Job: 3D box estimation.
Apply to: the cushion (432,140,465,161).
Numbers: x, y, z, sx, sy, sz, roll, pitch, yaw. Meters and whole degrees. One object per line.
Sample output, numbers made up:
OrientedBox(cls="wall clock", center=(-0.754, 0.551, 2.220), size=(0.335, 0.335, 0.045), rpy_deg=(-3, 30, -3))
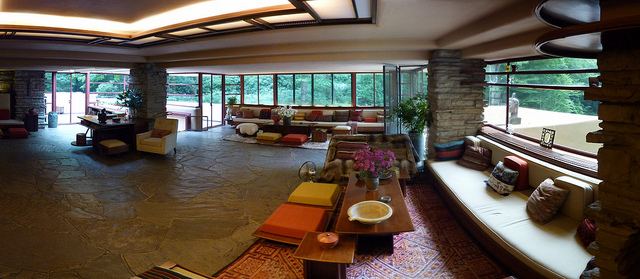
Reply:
OrientedBox(cls="cushion", center=(4.395, 0.364, 10.625), size=(1.002, 0.460, 0.291), rpy_deg=(-1, 5, 6))

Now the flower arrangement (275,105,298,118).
OrientedBox(cls="flower arrangement", center=(-1.616, -1.412, 16.323), size=(1.052, 0.531, 0.968), rpy_deg=(7, 6, 35))

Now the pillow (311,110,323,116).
OrientedBox(cls="pillow", center=(-0.109, -1.518, 17.788), size=(0.390, 0.249, 0.091), rpy_deg=(-1, -8, 21))

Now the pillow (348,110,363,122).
OrientedBox(cls="pillow", center=(1.977, -1.307, 17.203), size=(0.740, 0.573, 0.673), rpy_deg=(2, 11, 5))

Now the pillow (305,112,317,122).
OrientedBox(cls="pillow", center=(-0.451, -1.265, 17.754), size=(0.552, 0.476, 0.125), rpy_deg=(32, 0, 28))

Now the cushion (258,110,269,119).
OrientedBox(cls="cushion", center=(-3.242, -1.442, 18.295), size=(0.554, 0.358, 0.146), rpy_deg=(3, 0, 20))

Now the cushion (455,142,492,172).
OrientedBox(cls="cushion", center=(4.832, 0.547, 9.863), size=(0.269, 0.714, 0.851), rpy_deg=(29, 2, -43))

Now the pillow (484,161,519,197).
OrientedBox(cls="pillow", center=(5.271, 1.107, 9.033), size=(0.646, 0.770, 0.924), rpy_deg=(-16, 20, 3))

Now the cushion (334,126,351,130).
OrientedBox(cls="cushion", center=(1.139, -0.588, 15.654), size=(0.862, 0.100, 0.554), rpy_deg=(-1, 10, -8))

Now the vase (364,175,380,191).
OrientedBox(cls="vase", center=(1.450, 1.181, 8.813), size=(0.474, 0.332, 0.479), rpy_deg=(7, 10, 42))

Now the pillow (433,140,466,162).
OrientedBox(cls="pillow", center=(4.397, 0.374, 10.617), size=(0.978, 0.439, 0.283), rpy_deg=(-3, 7, 5))

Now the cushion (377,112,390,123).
OrientedBox(cls="cushion", center=(3.376, -1.167, 16.691), size=(0.767, 0.550, 0.510), rpy_deg=(-1, 3, 10))

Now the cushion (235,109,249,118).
OrientedBox(cls="cushion", center=(-4.746, -1.520, 18.886), size=(0.517, 0.392, 0.197), rpy_deg=(-4, -17, 29))

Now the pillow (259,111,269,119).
OrientedBox(cls="pillow", center=(-3.263, -1.433, 18.226), size=(0.569, 0.366, 0.153), rpy_deg=(0, 2, 23))

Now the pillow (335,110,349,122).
OrientedBox(cls="pillow", center=(1.228, -1.276, 17.325), size=(0.760, 0.558, 0.593), rpy_deg=(1, 11, 1))

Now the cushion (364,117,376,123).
OrientedBox(cls="cushion", center=(2.761, -1.048, 17.003), size=(0.483, 0.162, 0.323), rpy_deg=(0, -2, 15))

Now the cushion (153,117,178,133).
OrientedBox(cls="cushion", center=(-6.510, -0.607, 13.351), size=(0.866, 0.595, 0.680), rpy_deg=(11, 5, 13))

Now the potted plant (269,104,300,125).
OrientedBox(cls="potted plant", center=(-1.824, -1.393, 17.119), size=(1.696, 0.763, 3.252), rpy_deg=(-1, 10, -9))

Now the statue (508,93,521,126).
OrientedBox(cls="statue", center=(6.429, -1.011, 10.350), size=(0.426, 1.016, 0.177), rpy_deg=(8, 15, 30))

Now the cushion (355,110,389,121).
OrientedBox(cls="cushion", center=(2.808, -1.349, 17.527), size=(1.155, 0.547, 0.551), rpy_deg=(1, 3, 20))

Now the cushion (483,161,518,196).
OrientedBox(cls="cushion", center=(5.155, 1.129, 8.919), size=(0.612, 0.702, 0.993), rpy_deg=(-4, 13, -19))

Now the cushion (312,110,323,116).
OrientedBox(cls="cushion", center=(-0.141, -1.518, 17.794), size=(0.457, 0.291, 0.099), rpy_deg=(-1, -7, 10))

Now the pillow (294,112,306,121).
OrientedBox(cls="pillow", center=(-1.105, -1.343, 18.079), size=(0.721, 0.340, 0.434), rpy_deg=(0, 3, -2))

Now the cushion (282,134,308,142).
OrientedBox(cls="cushion", center=(-1.166, -0.097, 15.027), size=(0.881, 0.267, 0.885), rpy_deg=(3, 10, 16))

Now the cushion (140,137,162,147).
OrientedBox(cls="cushion", center=(-6.868, 0.088, 12.971), size=(1.032, 0.288, 0.376), rpy_deg=(5, 12, 26))

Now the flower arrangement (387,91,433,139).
OrientedBox(cls="flower arrangement", center=(3.736, -1.029, 12.151), size=(1.956, 1.482, 1.765), rpy_deg=(-1, 11, -5))

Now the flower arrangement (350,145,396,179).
OrientedBox(cls="flower arrangement", center=(1.432, 0.597, 8.977), size=(1.300, 0.636, 0.999), rpy_deg=(6, 3, 7))

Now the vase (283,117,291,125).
OrientedBox(cls="vase", center=(-1.630, -0.946, 15.746), size=(0.394, 0.333, 0.348), rpy_deg=(-1, 11, -10))

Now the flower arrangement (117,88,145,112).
OrientedBox(cls="flower arrangement", center=(-8.607, -1.784, 14.511), size=(0.981, 1.047, 0.745), rpy_deg=(-5, 13, -26))

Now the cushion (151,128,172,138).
OrientedBox(cls="cushion", center=(-6.671, -0.257, 13.259), size=(0.740, 0.332, 0.175), rpy_deg=(-3, -25, 14))

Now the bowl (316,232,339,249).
OrientedBox(cls="bowl", center=(0.191, 2.400, 7.573), size=(0.548, 0.323, 0.258), rpy_deg=(1, 12, 0))

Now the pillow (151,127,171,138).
OrientedBox(cls="pillow", center=(-6.669, -0.264, 13.226), size=(0.749, 0.332, 0.177), rpy_deg=(-1, -24, 14))

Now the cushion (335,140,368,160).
OrientedBox(cls="cushion", center=(1.050, 0.328, 10.673), size=(0.940, 0.212, 0.614), rpy_deg=(4, 17, 16))

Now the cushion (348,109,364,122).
OrientedBox(cls="cushion", center=(1.985, -1.265, 17.205), size=(0.806, 0.537, 0.671), rpy_deg=(1, 10, 7))

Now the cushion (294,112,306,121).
OrientedBox(cls="cushion", center=(-1.103, -1.345, 18.265), size=(0.657, 0.417, 0.384), rpy_deg=(3, 1, 3))

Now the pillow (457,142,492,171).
OrientedBox(cls="pillow", center=(4.948, 0.539, 10.080), size=(0.918, 0.722, 0.254), rpy_deg=(27, -15, 13))

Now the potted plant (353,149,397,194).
OrientedBox(cls="potted plant", center=(1.487, 0.879, 8.959), size=(1.204, 0.886, 1.067), rpy_deg=(6, 16, 43))

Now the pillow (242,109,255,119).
OrientedBox(cls="pillow", center=(-4.247, -1.536, 18.692), size=(0.623, 0.427, 0.444), rpy_deg=(-1, 11, -7))
